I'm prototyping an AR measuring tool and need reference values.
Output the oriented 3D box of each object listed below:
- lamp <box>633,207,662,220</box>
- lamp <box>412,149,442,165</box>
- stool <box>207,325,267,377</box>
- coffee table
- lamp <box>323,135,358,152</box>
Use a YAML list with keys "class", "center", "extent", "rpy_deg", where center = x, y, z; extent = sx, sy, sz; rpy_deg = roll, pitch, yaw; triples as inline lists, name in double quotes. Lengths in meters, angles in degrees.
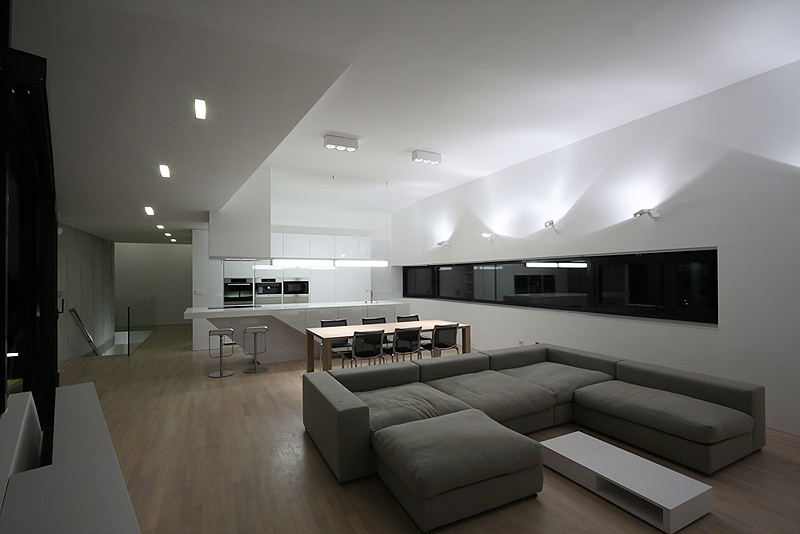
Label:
- class: "lamp"
  center: [3.067, -0.664, 6.259]
  extent: [0.091, 0.134, 0.333]
  rpy_deg: [-7, 13, -30]
- class: "lamp"
  center: [0.400, -1.665, 7.564]
  extent: [0.433, 0.194, 0.688]
  rpy_deg: [0, 11, 3]
- class: "stool"
  center: [-2.617, 1.368, 8.128]
  extent: [0.664, 0.557, 0.260]
  rpy_deg: [0, -1, -23]
- class: "coffee table"
  center: [1.958, 1.865, 4.426]
  extent: [0.616, 0.277, 1.257]
  rpy_deg: [-9, 14, -36]
- class: "lamp"
  center: [-0.773, -1.671, 6.645]
  extent: [0.456, 0.193, 0.227]
  rpy_deg: [-3, 11, -12]
